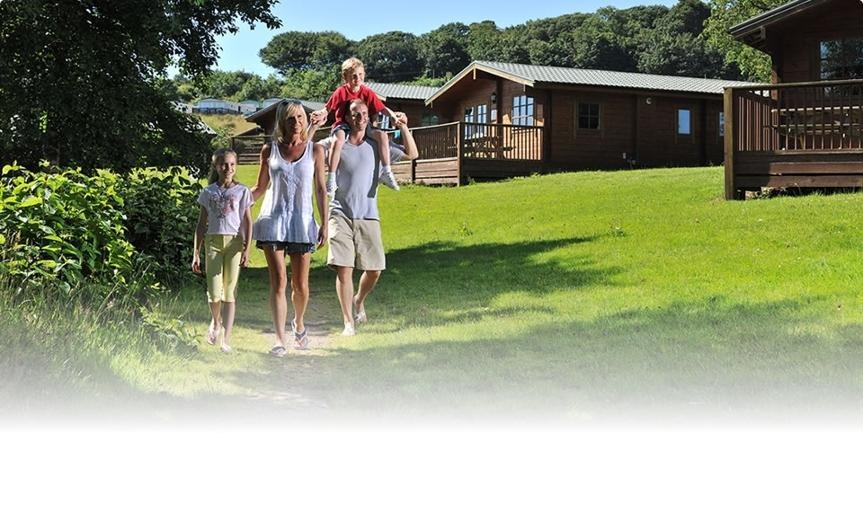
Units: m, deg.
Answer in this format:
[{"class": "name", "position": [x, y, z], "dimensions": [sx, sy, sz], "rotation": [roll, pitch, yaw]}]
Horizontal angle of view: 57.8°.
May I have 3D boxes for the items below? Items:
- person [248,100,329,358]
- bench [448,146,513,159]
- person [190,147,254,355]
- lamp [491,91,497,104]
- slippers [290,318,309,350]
[{"class": "person", "position": [-2.142, -0.384, 11.927], "dimensions": [1.132, 3.891, 1.148], "rotation": [-2, 6, -8]}, {"class": "bench", "position": [1.849, -3.792, 28.756], "dimensions": [1.032, 0.433, 2.770], "rotation": [6, 12, 37]}, {"class": "person", "position": [-3.124, -0.042, 11.746], "dimensions": [0.903, 3.104, 0.439], "rotation": [-2, 6, -10]}, {"class": "lamp", "position": [2.723, -6.945, 34.317], "dimensions": [0.113, 0.474, 0.476], "rotation": [-3, 8, -23]}, {"class": "slippers", "position": [-2.051, 1.284, 12.193], "dimensions": [0.259, 0.612, 0.186], "rotation": [-11, 9, -14]}]
